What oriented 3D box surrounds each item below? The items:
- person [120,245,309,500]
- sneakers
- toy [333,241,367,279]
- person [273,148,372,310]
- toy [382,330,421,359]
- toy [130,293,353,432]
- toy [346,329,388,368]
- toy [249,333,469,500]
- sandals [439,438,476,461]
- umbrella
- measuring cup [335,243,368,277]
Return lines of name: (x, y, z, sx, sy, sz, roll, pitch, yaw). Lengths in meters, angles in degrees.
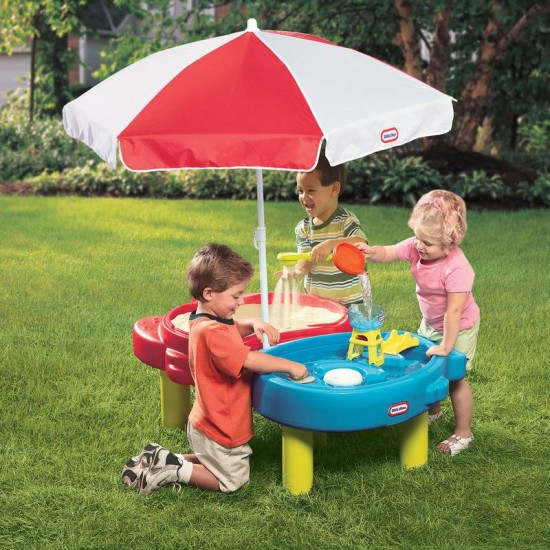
person: (-0.310, 0.449, 3.976, 0.859, 1.112, 0.632, -3, 4, -17)
sneakers: (-0.572, 0.900, 3.912, 0.272, 0.141, 0.176, -3, 15, -9)
toy: (0.370, -0.057, 4.132, 0.130, 0.174, 0.044, -41, 7, -40)
person: (0.315, -0.016, 4.961, 0.499, 1.297, 0.421, -2, 10, 20)
toy: (0.639, 0.331, 4.233, 0.196, 0.074, 0.102, -16, 20, -42)
toy: (-0.202, 0.488, 4.593, 1.091, 0.615, 0.871, -1, 13, -4)
toy: (0.463, 0.358, 4.136, 0.168, 0.189, 0.179, 0, 0, 35)
toy: (0.420, 0.553, 3.904, 0.835, 0.425, 0.699, -5, 6, -36)
sandals: (0.923, 0.859, 4.216, 0.155, 0.058, 0.077, -6, 5, -37)
umbrella: (0.142, -0.416, 4.425, 1.789, 1.695, 1.918, 4, 21, 37)
measuring cup: (0.370, -0.051, 4.138, 0.045, 0.169, 0.126, -28, 14, 51)
